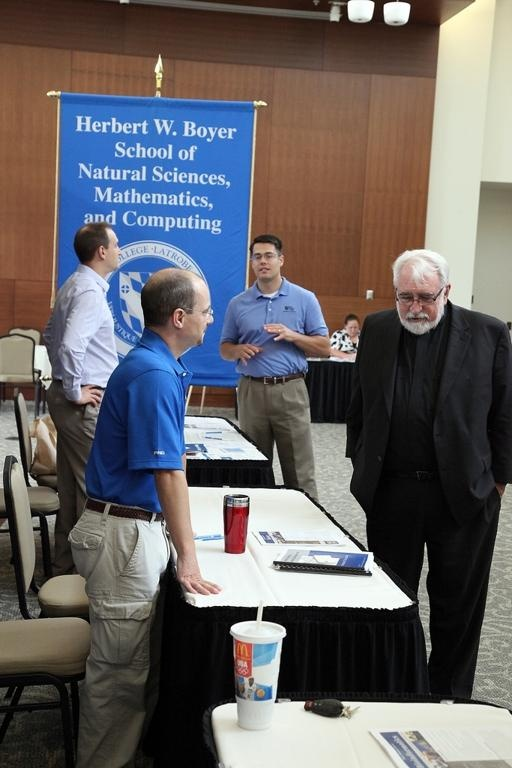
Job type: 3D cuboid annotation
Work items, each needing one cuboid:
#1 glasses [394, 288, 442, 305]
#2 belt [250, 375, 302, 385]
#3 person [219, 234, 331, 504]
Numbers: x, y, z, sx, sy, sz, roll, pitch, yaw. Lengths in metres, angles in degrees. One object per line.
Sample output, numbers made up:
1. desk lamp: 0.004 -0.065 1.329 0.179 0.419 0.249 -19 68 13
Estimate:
1. glasses: 0.499 -0.269 1.896 0.139 0.051 0.080 4 13 16
2. belt: 0.112 -0.025 3.444 0.286 0.043 0.081 -1 13 -5
3. person: 0.100 0.071 3.536 0.562 1.769 0.551 0 12 8
